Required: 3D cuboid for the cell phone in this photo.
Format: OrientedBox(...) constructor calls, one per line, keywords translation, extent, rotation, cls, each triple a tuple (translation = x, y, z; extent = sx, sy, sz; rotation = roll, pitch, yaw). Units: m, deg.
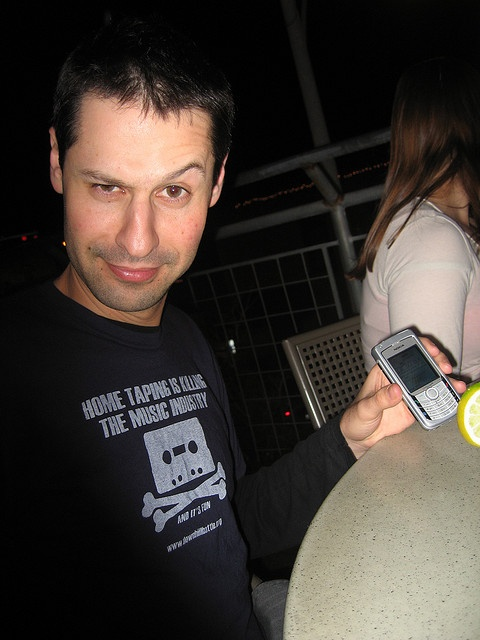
OrientedBox(translation=(0.399, 0.149, 1.140), extent=(0.139, 0.062, 0.244), rotation=(-26, 72, -7), cls="cell phone")
